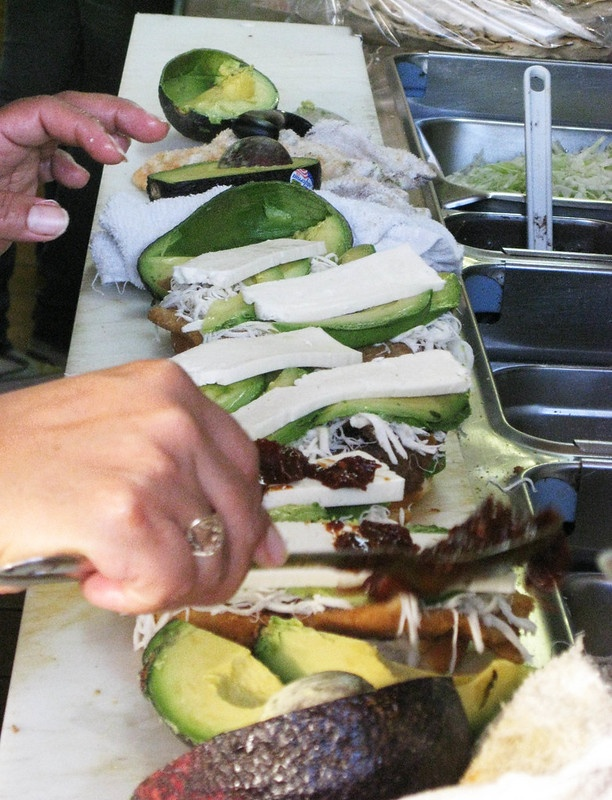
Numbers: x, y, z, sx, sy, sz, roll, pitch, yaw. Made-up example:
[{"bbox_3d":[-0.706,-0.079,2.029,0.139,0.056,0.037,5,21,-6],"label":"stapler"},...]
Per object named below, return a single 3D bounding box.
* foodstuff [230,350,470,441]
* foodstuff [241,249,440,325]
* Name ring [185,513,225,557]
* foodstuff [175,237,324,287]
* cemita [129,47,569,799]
[{"bbox_3d":[0.061,0.004,0.708,0.238,0.032,0.065,-7,31,-13],"label":"foodstuff"},{"bbox_3d":[0.033,-0.107,0.814,0.173,0.020,0.077,-15,36,-14],"label":"foodstuff"},{"bbox_3d":[-0.046,0.064,0.386,0.019,0.018,0.010,-21,33,-35],"label":"Name ring"},{"bbox_3d":[-0.060,-0.144,0.860,0.129,0.018,0.062,-18,25,-26],"label":"foodstuff"},{"bbox_3d":[0.011,0.009,0.604,0.320,0.127,0.394,-1,52,-7],"label":"cemita"}]
